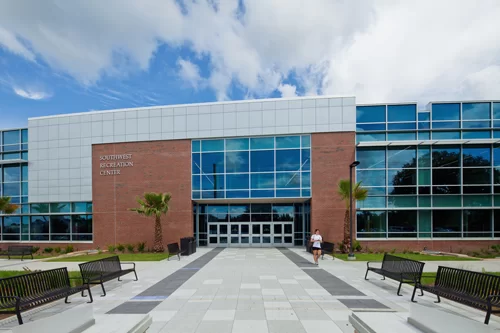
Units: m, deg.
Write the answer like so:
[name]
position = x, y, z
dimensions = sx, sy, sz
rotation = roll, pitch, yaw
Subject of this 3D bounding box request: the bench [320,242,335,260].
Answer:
[bench]
position = 5.967, 6.438, 29.915
dimensions = 1.147, 1.333, 1.481
rotation = -2, -15, 4
